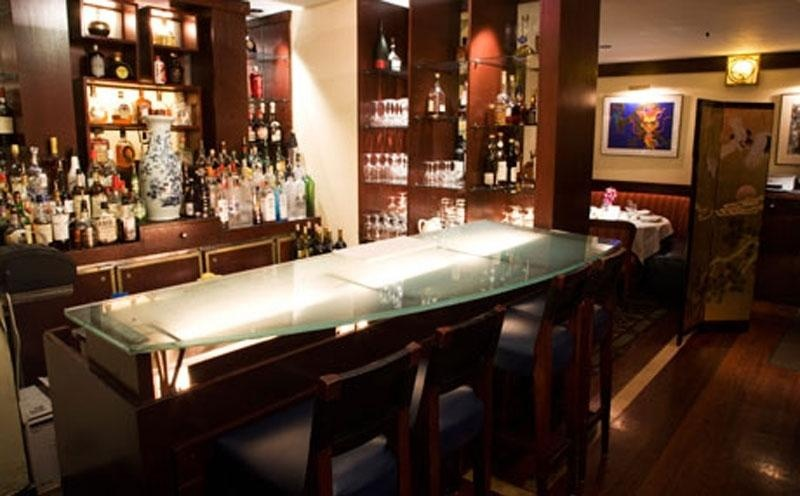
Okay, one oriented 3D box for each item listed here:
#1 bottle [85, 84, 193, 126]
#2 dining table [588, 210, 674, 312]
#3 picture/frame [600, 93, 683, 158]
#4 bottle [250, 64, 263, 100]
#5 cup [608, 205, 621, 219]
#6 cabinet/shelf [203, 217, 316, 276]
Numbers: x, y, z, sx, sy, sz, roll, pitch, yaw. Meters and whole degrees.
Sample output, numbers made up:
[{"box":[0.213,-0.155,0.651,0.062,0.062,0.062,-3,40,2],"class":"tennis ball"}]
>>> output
[{"box":[-2.552,-1.381,5.651,0.139,0.216,0.613,2,5,39],"class":"bottle"},{"box":[2.341,0.166,5.897,0.824,0.992,0.761,-21,28,-31],"class":"dining table"},{"box":[3.523,-1.768,8.421,0.954,0.777,0.090,11,16,33],"class":"picture/frame"},{"box":[-1.635,-1.899,6.714,0.126,0.374,0.258,-2,13,2],"class":"bottle"},{"box":[2.614,-0.434,7.151,0.090,0.150,0.165,18,30,40],"class":"cup"},{"box":[-1.474,-0.022,5.834,1.540,0.455,0.872,-7,6,-36],"class":"cabinet/shelf"}]
